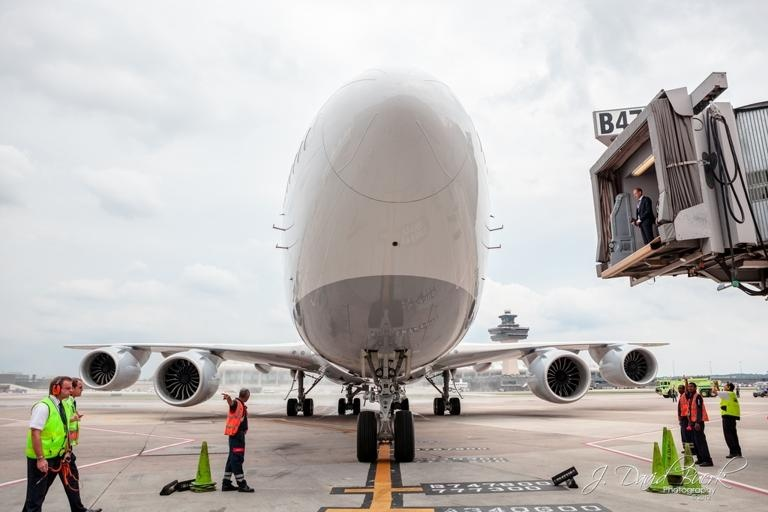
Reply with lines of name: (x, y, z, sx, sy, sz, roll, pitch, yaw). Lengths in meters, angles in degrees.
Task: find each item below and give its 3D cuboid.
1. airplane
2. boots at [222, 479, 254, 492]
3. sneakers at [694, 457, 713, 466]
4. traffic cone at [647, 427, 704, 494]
airplane: (-0.323, -1.086, 17.271, 10.964, 5.889, 14.857, -1, -26, -1)
boots: (-2.834, 4.503, 10.763, 0.726, 0.299, 0.264, 2, -15, 3)
sneakers: (7.057, 4.627, 12.354, 0.441, 0.189, 0.133, 13, -25, -9)
traffic cone: (5.581, 3.943, 10.675, 1.151, 1.138, 0.820, 6, -15, -28)
